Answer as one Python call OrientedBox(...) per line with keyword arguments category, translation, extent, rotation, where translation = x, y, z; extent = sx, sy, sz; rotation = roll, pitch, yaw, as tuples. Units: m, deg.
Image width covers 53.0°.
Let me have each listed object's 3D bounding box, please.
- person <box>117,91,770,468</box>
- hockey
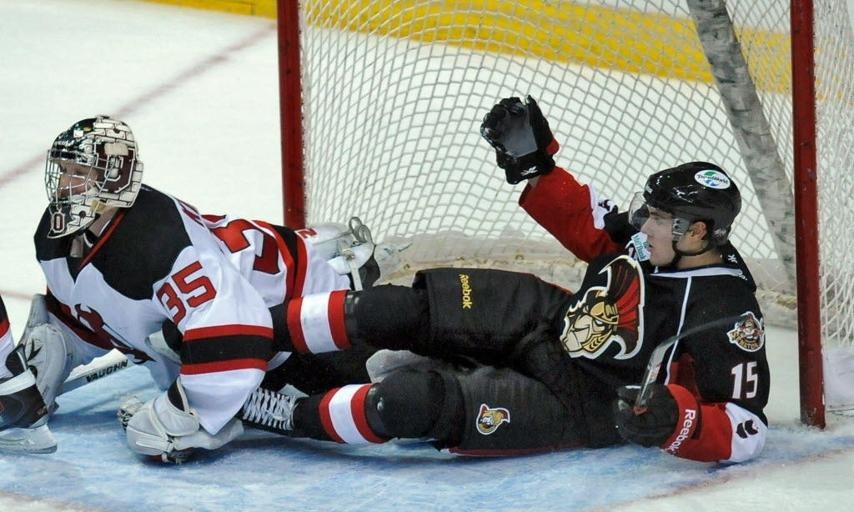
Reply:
OrientedBox(category="person", translation=(0.215, 0.213, 3.500), extent=(2.072, 0.995, 1.412), rotation=(3, 43, -12))
OrientedBox(category="hockey", translation=(1.026, 0.394, 3.352), extent=(0.426, 0.378, 0.108), rotation=(-14, 33, -23))
